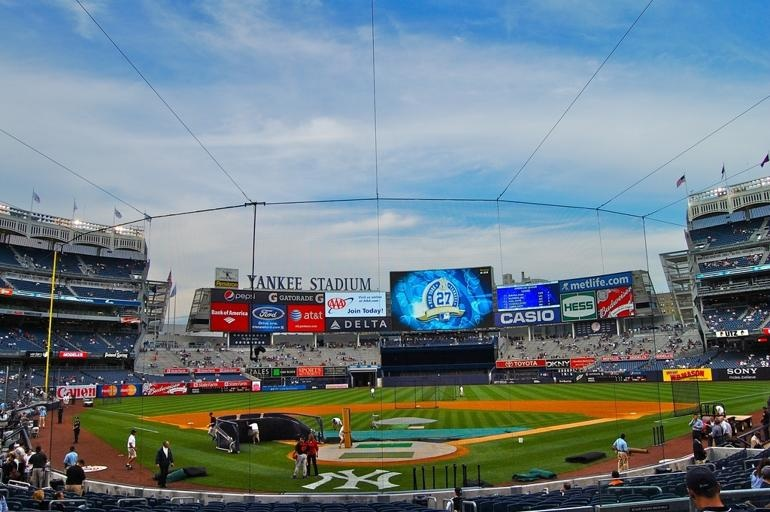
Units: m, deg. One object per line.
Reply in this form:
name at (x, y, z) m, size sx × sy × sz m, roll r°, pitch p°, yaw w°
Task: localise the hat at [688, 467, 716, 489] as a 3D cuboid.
hat at (12.252, 8.611, 28.717) m, size 1.083 × 0.849 × 0.444 m, roll -6°, pitch -16°, yaw 15°
